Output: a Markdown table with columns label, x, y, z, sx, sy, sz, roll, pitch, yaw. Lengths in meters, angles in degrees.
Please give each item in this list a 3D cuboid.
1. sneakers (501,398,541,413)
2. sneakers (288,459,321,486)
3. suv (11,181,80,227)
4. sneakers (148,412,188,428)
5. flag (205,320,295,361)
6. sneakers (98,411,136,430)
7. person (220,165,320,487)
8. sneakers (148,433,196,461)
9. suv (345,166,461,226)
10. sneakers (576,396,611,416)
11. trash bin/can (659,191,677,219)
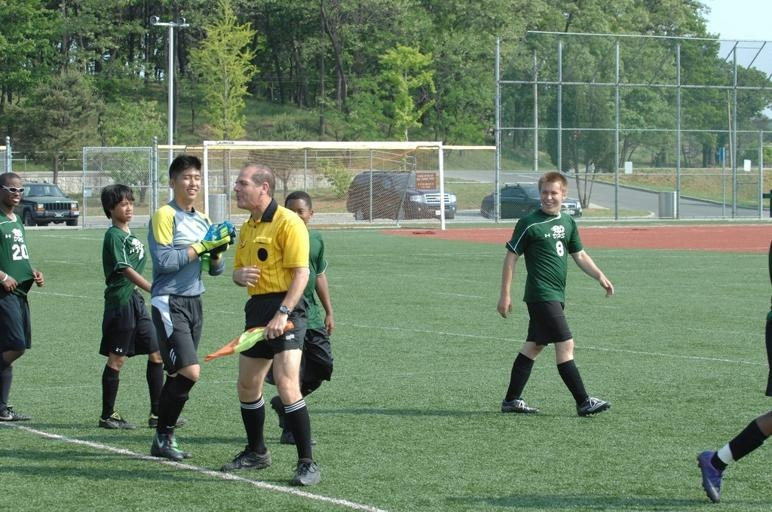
| label | x | y | z | sx | sy | sz | roll | pitch | yaw |
| --- | --- | --- | --- | --- | --- | --- | --- | --- | --- |
| sneakers | 1.727 | 1.899 | 13.655 | 0.530 | 0.176 | 0.175 | 1 | -1 | -2 |
| sneakers | -0.891 | 2.370 | 11.933 | 0.379 | 0.276 | 0.292 | -4 | 13 | -15 |
| suv | -12.923 | -1.753 | 41.924 | 1.697 | 1.274 | 3.220 | -1 | -5 | -20 |
| sneakers | -2.769 | 2.025 | 13.265 | 0.589 | 0.217 | 0.192 | 0 | 1 | 6 |
| flag | -1.508 | 0.920 | 11.868 | 0.954 | 0.382 | 0.325 | -5 | 14 | -22 |
| sneakers | -3.353 | 2.044 | 13.306 | 0.521 | 0.188 | 0.171 | 4 | 0 | -7 |
| person | -1.275 | 0.735 | 11.980 | 0.924 | 3.429 | 1.233 | -3 | 14 | -8 |
| sneakers | -2.406 | 2.200 | 12.341 | 0.668 | 0.265 | 0.211 | 1 | 0 | 27 |
| suv | 0.297 | -2.358 | 42.857 | 3.338 | 1.372 | 2.063 | -2 | 3 | 12 |
| sneakers | 2.569 | 1.875 | 13.372 | 0.498 | 0.221 | 0.180 | -7 | 5 | 4 |
| trash bin/can | 12.321 | -2.280 | 46.754 | 0.777 | 1.102 | 0.709 | 3 | 14 | 13 |
